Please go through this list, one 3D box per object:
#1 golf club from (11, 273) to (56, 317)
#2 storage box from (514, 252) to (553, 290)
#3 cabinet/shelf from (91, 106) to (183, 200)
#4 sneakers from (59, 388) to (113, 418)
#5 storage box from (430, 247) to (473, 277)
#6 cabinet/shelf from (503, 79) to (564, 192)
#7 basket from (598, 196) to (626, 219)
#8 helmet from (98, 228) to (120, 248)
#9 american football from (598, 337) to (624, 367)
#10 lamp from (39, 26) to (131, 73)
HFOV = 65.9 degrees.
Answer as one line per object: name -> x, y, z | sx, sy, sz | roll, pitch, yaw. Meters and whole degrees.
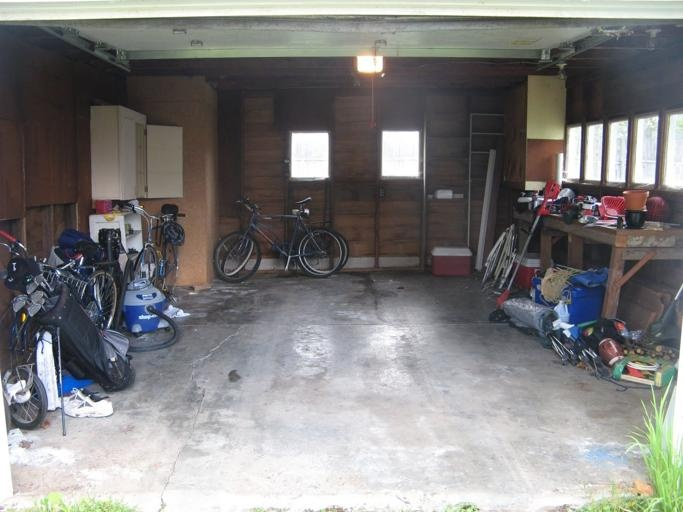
golf club -> -2.188, 0.303, 3.873 | 0.272, 0.286, 0.112 | -15, -40, 35
storage box -> 2.601, 0.221, 7.362 | 0.437, 0.531, 0.796 | 4, 13, 5
cabinet/shelf -> -2.612, -1.307, 6.758 | 0.754, 1.018, 1.557 | 8, 19, 21
sneakers -> -1.936, 1.123, 4.091 | 0.443, 0.171, 0.167 | 8, -3, 1
storage box -> 1.827, 0.108, 8.673 | 0.651, 0.402, 0.446 | 0, 1, 1
cabinet/shelf -> 2.884, -1.785, 7.818 | 0.595, 1.756, 1.651 | 1, 9, -4
basket -> 3.111, -0.558, 6.037 | 0.225, 0.263, 0.202 | 6, -24, 15
helmet -> -2.504, -0.191, 5.723 | 0.256, 0.235, 0.207 | -5, -2, 34
american football -> 2.471, 0.881, 4.875 | 0.176, 0.240, 0.230 | -13, 28, 2
lamp -> -2.551, -2.049, 5.221 | 0.285, 0.108, 0.805 | 29, -2, 31
